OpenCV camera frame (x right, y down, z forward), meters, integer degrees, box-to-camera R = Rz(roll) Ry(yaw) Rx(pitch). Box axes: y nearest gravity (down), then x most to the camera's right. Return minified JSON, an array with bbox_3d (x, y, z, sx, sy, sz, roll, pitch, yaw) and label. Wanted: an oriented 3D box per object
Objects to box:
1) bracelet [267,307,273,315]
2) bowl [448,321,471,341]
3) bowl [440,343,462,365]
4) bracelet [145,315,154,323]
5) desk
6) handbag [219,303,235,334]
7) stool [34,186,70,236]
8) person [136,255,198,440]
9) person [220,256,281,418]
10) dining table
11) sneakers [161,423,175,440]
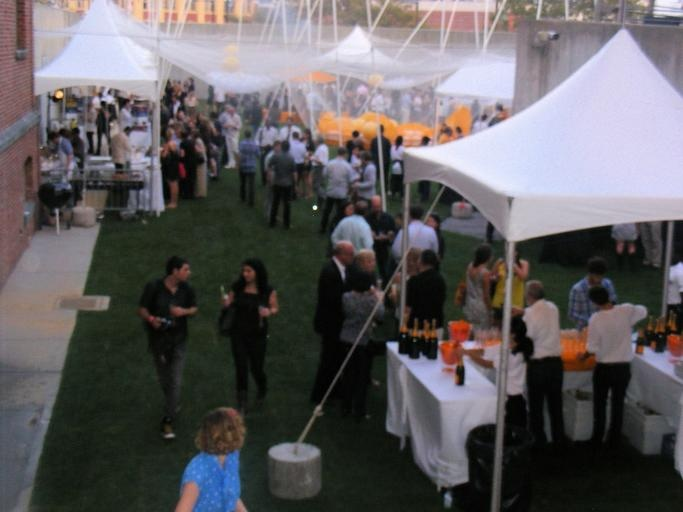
[{"bbox_3d":[-0.847,0.636,8.449,0.063,0.091,0.031,-1,-6,-13],"label":"bracelet"},{"bbox_3d":[1.406,0.874,8.588,0.212,0.197,0.238,0,1,2],"label":"bowl"},{"bbox_3d":[1.247,1.103,8.178,0.234,0.203,0.195,9,9,41],"label":"bowl"},{"bbox_3d":[-2.178,0.697,8.125,0.059,0.091,0.030,-1,-9,-7],"label":"bracelet"},{"bbox_3d":[-5.241,-1.934,17.355,1.883,1.316,2.051,6,15,0],"label":"desk"},{"bbox_3d":[-1.382,0.735,8.511,0.091,0.307,0.211,5,4,-18],"label":"handbag"},{"bbox_3d":[-6.255,-0.971,15.423,0.629,1.275,0.515,-16,20,-32],"label":"stool"},{"bbox_3d":[-2.011,1.148,8.347,0.628,1.928,0.260,-3,9,-19],"label":"person"},{"bbox_3d":[-1.128,0.966,8.603,0.668,1.922,0.395,-2,9,-15],"label":"person"},{"bbox_3d":[1.964,1.896,7.765,1.774,0.818,1.913,2,16,-7],"label":"dining table"},{"bbox_3d":[-2.040,2.041,8.410,0.085,0.203,0.268,2,-7,-19],"label":"sneakers"}]
